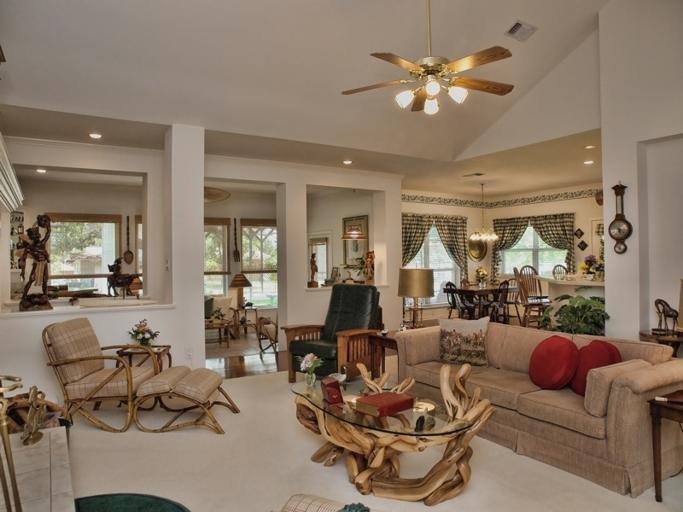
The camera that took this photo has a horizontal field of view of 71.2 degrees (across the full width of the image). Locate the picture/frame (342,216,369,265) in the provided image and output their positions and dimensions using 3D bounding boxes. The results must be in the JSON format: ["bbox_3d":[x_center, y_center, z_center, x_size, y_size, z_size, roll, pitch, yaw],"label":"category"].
[{"bbox_3d":[0.312,-0.318,9.847,0.082,1.244,0.989,3,-4,-28],"label":"picture/frame"}]

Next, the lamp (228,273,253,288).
[{"bbox_3d":[-1.972,0.514,9.302,0.300,0.264,0.412,0,5,2],"label":"lamp"}]

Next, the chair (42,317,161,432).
[{"bbox_3d":[-2.527,1.223,5.042,0.965,1.082,0.742,2,3,5],"label":"chair"}]

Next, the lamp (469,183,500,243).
[{"bbox_3d":[3.457,-0.915,11.512,0.639,1.356,1.599,1,6,18],"label":"lamp"}]

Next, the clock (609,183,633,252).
[{"bbox_3d":[3.474,-0.440,5.885,0.120,0.871,0.252,-4,7,-30],"label":"clock"}]

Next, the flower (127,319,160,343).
[{"bbox_3d":[-2.420,0.890,5.799,0.279,0.291,0.292,2,-2,7],"label":"flower"}]

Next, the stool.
[{"bbox_3d":[-1.632,1.403,4.912,0.811,0.482,0.693,2,-3,-4],"label":"stool"}]

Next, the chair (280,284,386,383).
[{"bbox_3d":[-0.115,1.028,6.148,1.187,1.287,1.108,1,-1,-37],"label":"chair"}]

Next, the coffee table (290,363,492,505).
[{"bbox_3d":[0.568,1.480,3.957,1.025,0.885,1.610,2,-5,-40],"label":"coffee table"}]
